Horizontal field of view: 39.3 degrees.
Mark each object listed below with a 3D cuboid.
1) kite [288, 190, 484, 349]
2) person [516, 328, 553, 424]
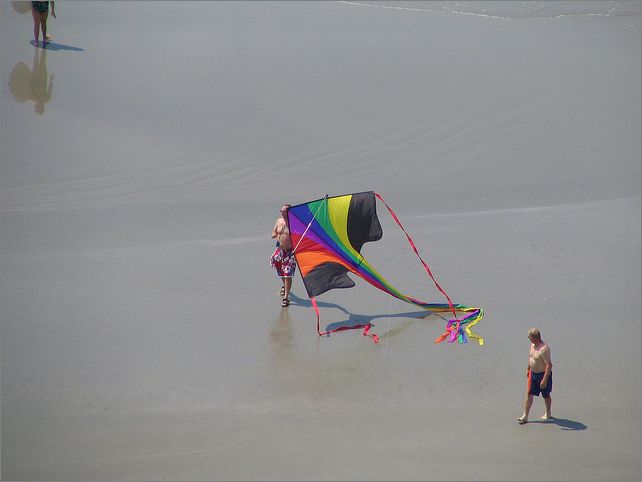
[{"bbox_3d":[0.972,0.473,16.910,3.491,2.492,0.941,33,-19,0],"label":"kite"},{"bbox_3d":[3.505,2.238,14.802,0.586,1.250,1.102,-5,-29,10],"label":"person"}]
